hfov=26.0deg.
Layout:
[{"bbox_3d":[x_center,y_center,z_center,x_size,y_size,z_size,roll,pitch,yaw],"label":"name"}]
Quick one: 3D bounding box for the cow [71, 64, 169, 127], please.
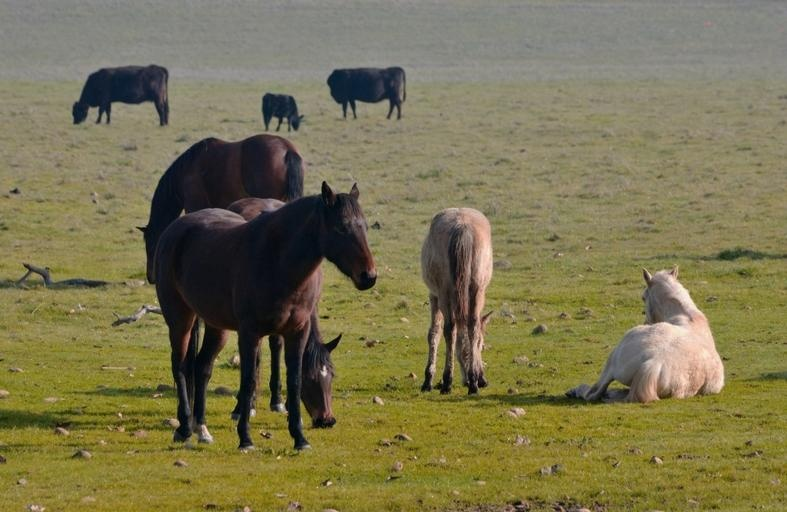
[{"bbox_3d":[-27.714,-16.517,172.926,10.662,6.284,2.878,-2,4,11],"label":"cow"}]
